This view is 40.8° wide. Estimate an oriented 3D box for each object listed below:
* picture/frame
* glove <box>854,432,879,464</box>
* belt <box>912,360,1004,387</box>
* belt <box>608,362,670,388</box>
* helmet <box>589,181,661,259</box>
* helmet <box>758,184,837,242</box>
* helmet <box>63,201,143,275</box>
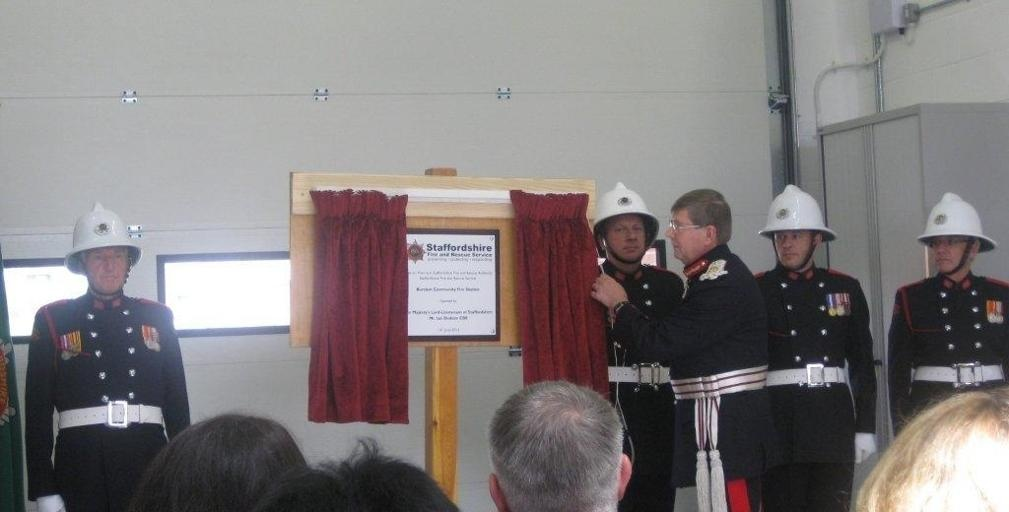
[{"bbox_3d":[-0.430,0.225,10.012,0.982,0.911,0.077,0,-7,-6],"label":"picture/frame"},{"bbox_3d":[2.836,1.496,10.750,0.225,0.252,0.090,6,5,3],"label":"glove"},{"bbox_3d":[3.634,0.948,10.888,0.684,0.183,0.102,-5,-11,13],"label":"belt"},{"bbox_3d":[1.043,0.936,10.695,0.637,0.161,0.173,0,7,5],"label":"belt"},{"bbox_3d":[0.958,-0.274,10.844,0.518,0.389,0.593,2,-24,-4],"label":"helmet"},{"bbox_3d":[2.333,-0.381,10.932,0.504,0.297,0.523,-2,-11,16],"label":"helmet"},{"bbox_3d":[-3.199,-0.227,10.672,0.564,0.392,0.605,-3,-4,-24],"label":"helmet"}]
